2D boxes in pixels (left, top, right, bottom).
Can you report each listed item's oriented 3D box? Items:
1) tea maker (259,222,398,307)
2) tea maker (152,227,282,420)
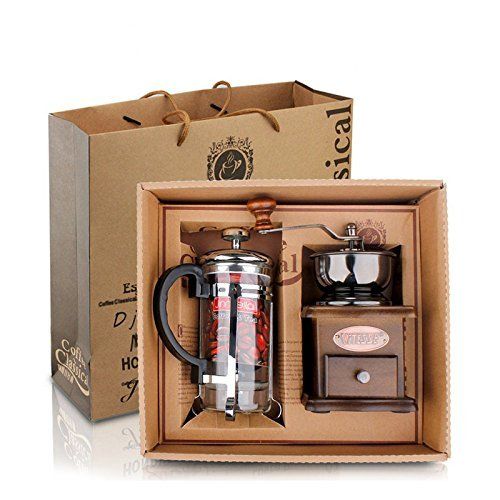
[{"bbox_3d":[0.212,0.043,1.692,0.426,0.214,0.264,2,0,-21],"label":"tea maker"},{"bbox_3d":[-0.096,0.218,1.598,0.318,0.429,0.204,-1,12,1],"label":"tea maker"}]
